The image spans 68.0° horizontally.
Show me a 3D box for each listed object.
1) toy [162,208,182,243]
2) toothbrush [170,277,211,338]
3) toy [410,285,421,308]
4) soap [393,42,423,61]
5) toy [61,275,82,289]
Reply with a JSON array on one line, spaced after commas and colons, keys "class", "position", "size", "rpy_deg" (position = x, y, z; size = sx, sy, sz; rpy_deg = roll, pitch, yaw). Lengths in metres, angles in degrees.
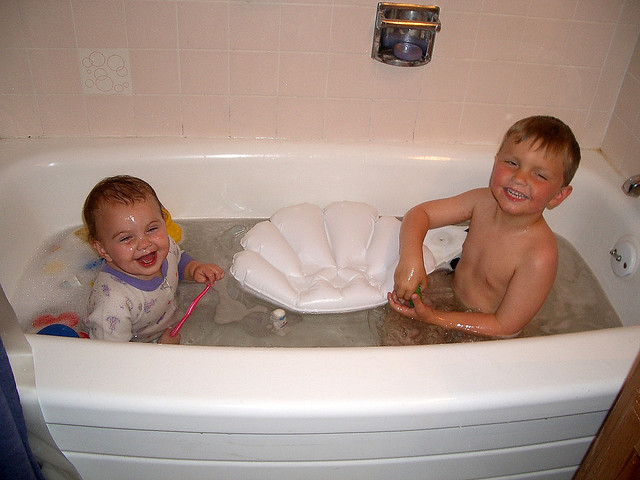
[{"class": "toy", "position": [-0.500, -0.042, 1.626], "size": [0.036, 0.112, 0.081], "rpy_deg": [-22, 5, 23]}, {"class": "toothbrush", "position": [-0.373, 0.214, 1.468], "size": [0.049, 0.057, 0.212], "rpy_deg": [-19, 33, 45]}, {"class": "toy", "position": [0.278, 0.165, 1.379], "size": [0.015, 0.051, 0.052], "rpy_deg": [8, 26, 13]}, {"class": "soap", "position": [0.289, -0.621, 1.565], "size": [0.092, 0.058, 0.026], "rpy_deg": [6, 34, 6]}, {"class": "toy", "position": [-0.739, 0.126, 1.415], "size": [0.036, 0.010, 0.038], "rpy_deg": [-11, 50, -20]}]
